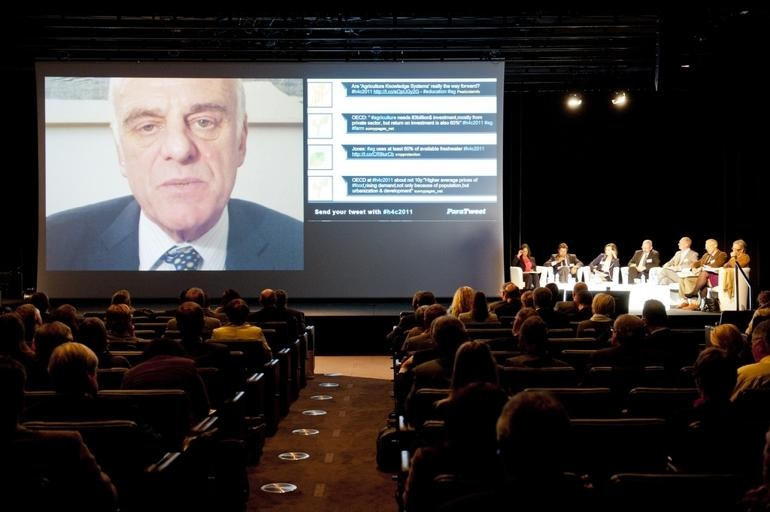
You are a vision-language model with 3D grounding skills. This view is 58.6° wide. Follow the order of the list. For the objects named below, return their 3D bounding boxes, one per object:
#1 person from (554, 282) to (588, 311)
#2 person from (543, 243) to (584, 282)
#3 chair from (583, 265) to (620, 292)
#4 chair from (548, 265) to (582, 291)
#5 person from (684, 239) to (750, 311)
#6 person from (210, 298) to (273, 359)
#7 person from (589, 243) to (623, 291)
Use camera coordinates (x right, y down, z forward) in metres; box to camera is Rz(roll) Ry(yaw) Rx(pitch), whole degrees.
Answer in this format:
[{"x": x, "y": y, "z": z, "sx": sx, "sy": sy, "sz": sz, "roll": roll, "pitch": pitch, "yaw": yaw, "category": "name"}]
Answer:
[{"x": 2.711, "y": 0.608, "z": 10.024, "sx": 0.292, "sy": 0.313, "sz": 0.720, "roll": 12, "pitch": -15, "yaw": 3, "category": "person"}, {"x": 3.672, "y": 0.332, "z": 14.115, "sx": 0.755, "sy": 1.074, "sz": 0.661, "roll": -1, "pitch": 7, "yaw": 17, "category": "person"}, {"x": 4.222, "y": 0.417, "z": 13.390, "sx": 0.604, "sy": 0.635, "sz": 0.767, "roll": -1, "pitch": -4, "yaw": 19, "category": "chair"}, {"x": 3.697, "y": 0.429, "z": 13.723, "sx": 0.698, "sy": 0.319, "sz": 0.905, "roll": 0, "pitch": -7, "yaw": -1, "category": "chair"}, {"x": 5.983, "y": 0.320, "z": 12.542, "sx": 1.187, "sy": 1.307, "sz": 0.758, "roll": -1, "pitch": 8, "yaw": 0, "category": "person"}, {"x": -1.533, "y": 0.798, "z": 7.388, "sx": 0.631, "sy": 1.118, "sz": 0.411, "roll": -2, "pitch": 2, "yaw": -3, "category": "person"}, {"x": 4.466, "y": 0.224, "z": 13.830, "sx": 0.617, "sy": 0.872, "sz": 0.775, "roll": 1, "pitch": 5, "yaw": 3, "category": "person"}]
